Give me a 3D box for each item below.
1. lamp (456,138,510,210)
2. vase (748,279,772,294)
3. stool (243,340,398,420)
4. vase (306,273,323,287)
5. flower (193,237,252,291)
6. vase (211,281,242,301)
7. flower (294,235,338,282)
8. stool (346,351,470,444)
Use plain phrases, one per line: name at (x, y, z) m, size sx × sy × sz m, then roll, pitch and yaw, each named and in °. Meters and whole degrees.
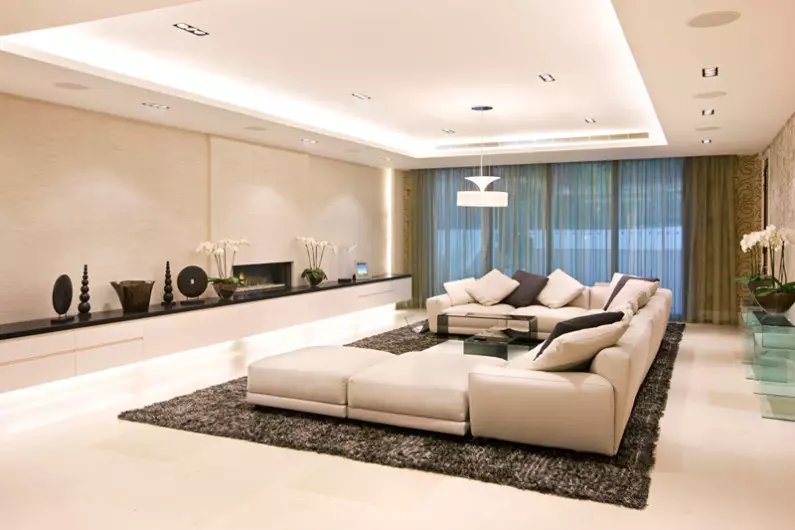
lamp at (1.310, -1.393, 7.843) m, size 0.891 × 0.881 × 0.841 m, roll -6°, pitch 14°, yaw -23°
vase at (4.025, 0.224, 5.623) m, size 0.283 × 0.180 × 0.275 m, roll 1°, pitch 0°, yaw -35°
stool at (-0.800, 1.013, 4.665) m, size 0.738 × 0.289 × 0.782 m, roll 0°, pitch 0°, yaw 27°
vase at (-1.344, 0.242, 8.369) m, size 0.230 × 0.147 × 0.217 m, roll 0°, pitch -5°, yaw -1°
flower at (-2.431, 0.010, 7.059) m, size 0.744 × 0.703 × 0.738 m, roll -2°, pitch 1°, yaw 12°
vase at (-2.310, 0.347, 6.869) m, size 0.295 × 0.221 × 0.317 m, roll 0°, pitch -3°, yaw 17°
flower at (-1.366, -0.048, 8.505) m, size 0.669 × 0.716 × 0.594 m, roll 0°, pitch 2°, yaw 1°
stool at (0.145, 1.085, 4.297) m, size 0.688 × 0.257 × 0.718 m, roll 0°, pitch 1°, yaw 20°
